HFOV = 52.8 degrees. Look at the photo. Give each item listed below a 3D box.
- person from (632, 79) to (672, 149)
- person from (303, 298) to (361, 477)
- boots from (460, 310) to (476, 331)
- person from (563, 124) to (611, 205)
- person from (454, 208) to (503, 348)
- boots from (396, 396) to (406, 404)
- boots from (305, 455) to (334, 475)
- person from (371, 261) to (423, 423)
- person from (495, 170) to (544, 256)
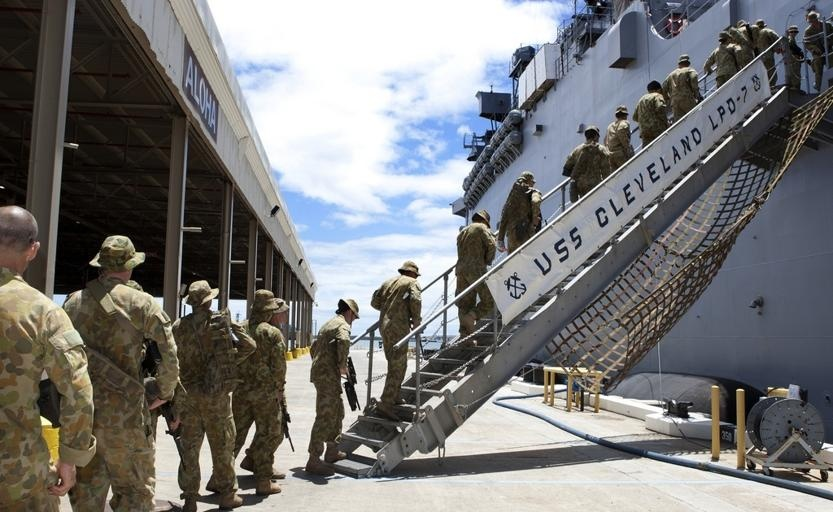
[{"bbox_3d":[4.644,-2.573,16.591,0.561,1.731,0.773,2,-3,-34],"label":"person"},{"bbox_3d":[-1.376,2.053,13.269,0.740,2.694,0.818,1,2,18],"label":"person"},{"bbox_3d":[0.847,1.102,14.483,0.297,0.538,0.385,1,0,-1],"label":"boots"},{"bbox_3d":[3.144,-1.699,15.910,0.649,1.717,0.930,1,0,-9],"label":"person"},{"bbox_3d":[0.975,0.380,14.450,0.676,2.304,1.381,0,2,3],"label":"person"},{"bbox_3d":[-0.282,2.385,13.931,0.140,0.078,0.190,3,-9,-7],"label":"boots"},{"bbox_3d":[-1.500,3.262,13.155,0.433,0.298,0.356,0,2,-21],"label":"boots"},{"bbox_3d":[-0.299,1.258,13.751,0.987,2.782,0.908,0,-1,-5],"label":"person"},{"bbox_3d":[1.854,-0.770,15.311,0.683,1.636,0.741,0,0,-3],"label":"person"}]
